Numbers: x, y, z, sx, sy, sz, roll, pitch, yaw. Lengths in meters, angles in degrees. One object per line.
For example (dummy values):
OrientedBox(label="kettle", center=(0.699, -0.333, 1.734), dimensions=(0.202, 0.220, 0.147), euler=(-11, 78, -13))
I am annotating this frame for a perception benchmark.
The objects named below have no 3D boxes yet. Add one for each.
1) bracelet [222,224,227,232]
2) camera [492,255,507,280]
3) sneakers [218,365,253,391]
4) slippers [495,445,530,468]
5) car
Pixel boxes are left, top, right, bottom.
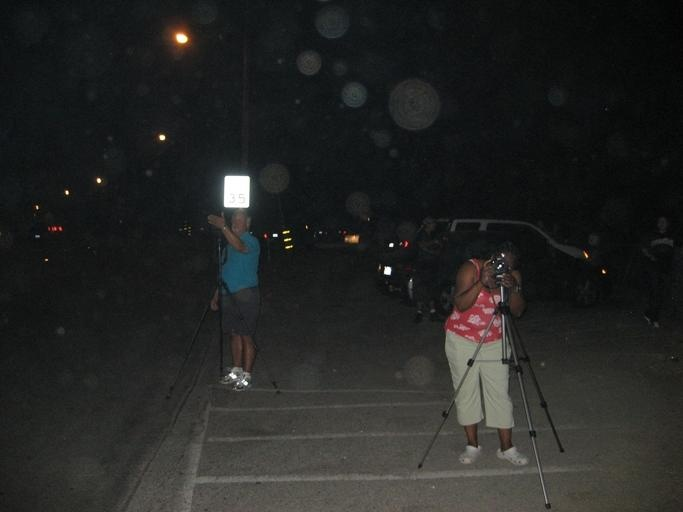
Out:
OrientedBox(label="bracelet", center=(-1.433, -0.342, 6.683), dimensions=(0.049, 0.050, 0.048), euler=(20, -89, -10))
OrientedBox(label="camera", center=(1.459, 0.097, 5.026), dimensions=(0.121, 0.151, 0.136), euler=(-8, -50, 16))
OrientedBox(label="sneakers", center=(-1.389, 1.620, 7.251), dimensions=(0.339, 0.139, 0.253), euler=(11, -2, -29))
OrientedBox(label="slippers", center=(1.635, 1.909, 5.287), dimensions=(0.142, 0.121, 0.268), euler=(-4, -1, -26))
OrientedBox(label="car", center=(3.094, -0.017, 12.059), dimensions=(4.272, 2.180, 1.813), euler=(-5, -85, -8))
